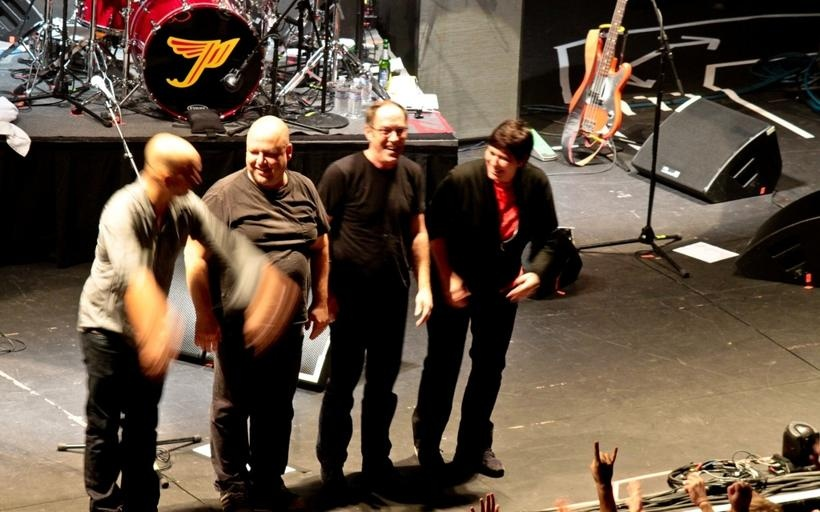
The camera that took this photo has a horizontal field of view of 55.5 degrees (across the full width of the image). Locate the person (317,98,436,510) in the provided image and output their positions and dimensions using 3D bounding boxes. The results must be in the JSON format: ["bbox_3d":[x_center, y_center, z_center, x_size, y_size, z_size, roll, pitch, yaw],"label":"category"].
[{"bbox_3d":[-0.244,0.272,4.948,0.809,2.506,0.570,-6,18,-26],"label":"person"}]
